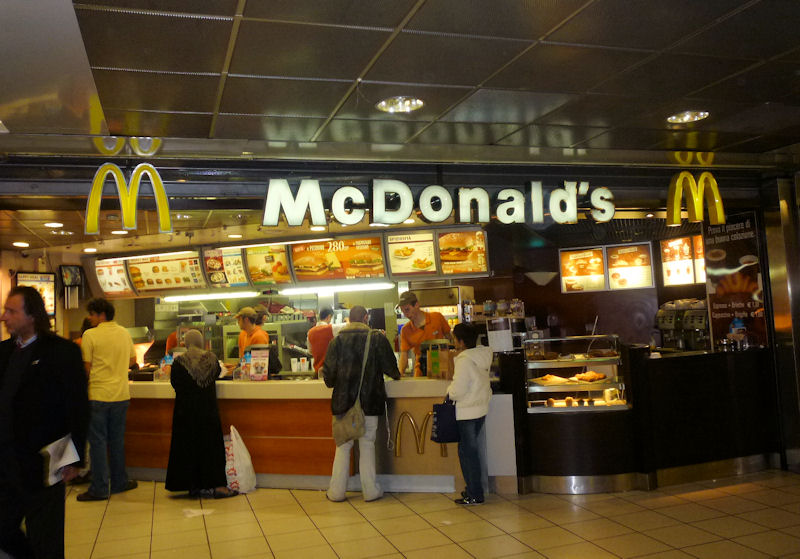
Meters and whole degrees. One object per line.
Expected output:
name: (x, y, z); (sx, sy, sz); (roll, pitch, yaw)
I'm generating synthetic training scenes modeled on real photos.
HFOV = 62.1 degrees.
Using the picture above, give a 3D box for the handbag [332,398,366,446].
handbag: (-0.516, 1.478, 6.807); (0.326, 0.422, 0.172); (-4, 14, -3)

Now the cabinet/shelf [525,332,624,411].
cabinet/shelf: (1.981, 1.024, 7.584); (1.205, 0.721, 1.154); (-15, -13, 9)

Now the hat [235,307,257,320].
hat: (-1.986, 0.434, 8.714); (0.239, 0.158, 0.296); (-6, 14, -11)

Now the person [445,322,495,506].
person: (0.724, 1.374, 6.736); (0.450, 1.780, 0.656); (-2, 14, 8)

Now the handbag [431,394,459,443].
handbag: (0.448, 1.403, 6.560); (0.254, 0.436, 0.211); (-3, 14, 3)

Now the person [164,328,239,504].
person: (-2.232, 1.496, 7.169); (0.705, 1.691, 0.751); (-8, 15, -16)

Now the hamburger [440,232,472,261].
hamburger: (0.750, -0.438, 8.837); (0.417, 0.278, 0.404); (1, 2, 23)

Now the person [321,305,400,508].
person: (-0.437, 1.323, 6.986); (0.618, 1.946, 0.884); (4, 16, 29)

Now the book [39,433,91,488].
book: (-2.560, 1.355, 5.046); (0.148, 0.313, 0.341); (24, 42, 34)

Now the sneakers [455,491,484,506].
sneakers: (0.708, 2.213, 6.718); (0.275, 0.104, 0.127); (3, -2, 11)

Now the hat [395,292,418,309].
hat: (0.100, 0.218, 7.887); (0.193, 0.219, 0.349); (-4, 14, -1)

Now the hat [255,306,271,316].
hat: (-1.909, 0.430, 9.159); (0.205, 0.092, 0.248); (5, 4, -5)
